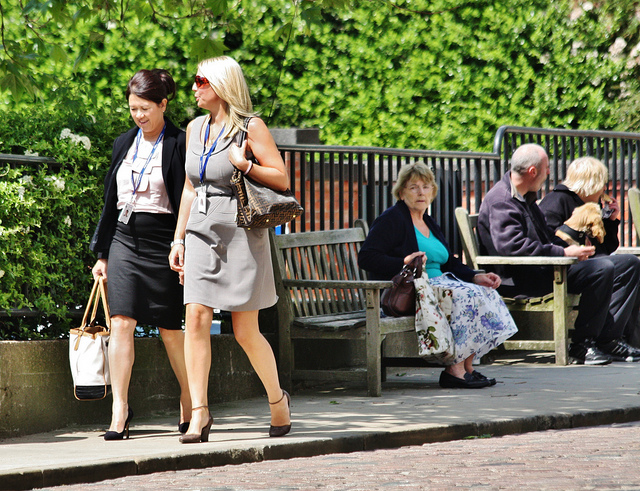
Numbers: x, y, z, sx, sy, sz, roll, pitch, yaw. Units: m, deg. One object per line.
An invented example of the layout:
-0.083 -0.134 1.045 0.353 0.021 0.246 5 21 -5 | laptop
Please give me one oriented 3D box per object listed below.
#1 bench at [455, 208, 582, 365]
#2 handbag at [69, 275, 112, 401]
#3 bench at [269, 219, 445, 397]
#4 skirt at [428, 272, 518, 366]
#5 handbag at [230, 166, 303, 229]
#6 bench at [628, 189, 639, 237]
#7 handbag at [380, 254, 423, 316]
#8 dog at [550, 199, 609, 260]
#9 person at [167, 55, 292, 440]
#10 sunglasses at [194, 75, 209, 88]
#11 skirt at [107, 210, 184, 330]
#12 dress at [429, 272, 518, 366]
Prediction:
1.954 0.351 11.605 1.153 1.462 1.296 -1 6 19 | bench
-1.681 0.669 8.643 0.292 0.935 0.732 -3 3 -11 | handbag
0.316 0.583 10.261 1.275 1.508 1.248 15 11 32 | bench
1.333 0.641 10.122 0.658 0.664 0.245 -3 3 -27 | skirt
-0.364 -0.337 7.934 0.456 0.397 0.205 -2 3 -3 | handbag
3.448 -0.384 13.057 0.103 0.495 0.404 -2 3 2 | bench
0.684 0.327 9.888 0.199 0.410 0.429 13 -2 25 | handbag
2.577 -0.176 11.482 0.591 0.596 0.436 -4 22 -22 | dog
-0.631 0.004 8.189 0.824 2.601 0.592 -2 3 -8 | person
-0.803 -1.130 8.147 0.092 0.098 0.042 -2 4 16 | sunglasses
-1.243 0.175 8.411 0.528 0.855 0.227 -3 3 -12 | skirt
1.329 0.608 10.067 0.834 0.900 0.549 2 2 20 | dress
